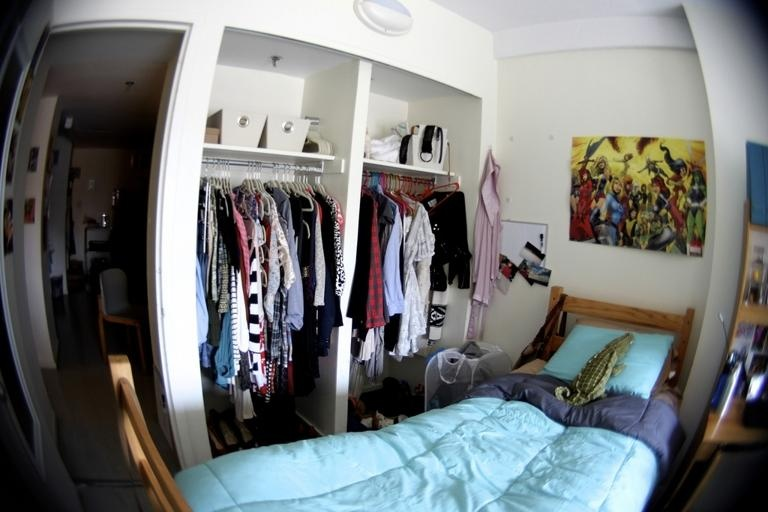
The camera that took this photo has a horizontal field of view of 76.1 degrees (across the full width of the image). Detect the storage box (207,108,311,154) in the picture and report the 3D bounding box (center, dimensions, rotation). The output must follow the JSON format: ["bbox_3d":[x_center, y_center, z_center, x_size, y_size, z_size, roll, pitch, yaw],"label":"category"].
[{"bbox_3d":[-0.482,-0.479,1.884,0.394,0.131,0.084,-2,8,-31],"label":"storage box"}]

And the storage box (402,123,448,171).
[{"bbox_3d":[0.194,-0.550,2.485,0.207,0.216,0.202,-2,12,-20],"label":"storage box"}]
